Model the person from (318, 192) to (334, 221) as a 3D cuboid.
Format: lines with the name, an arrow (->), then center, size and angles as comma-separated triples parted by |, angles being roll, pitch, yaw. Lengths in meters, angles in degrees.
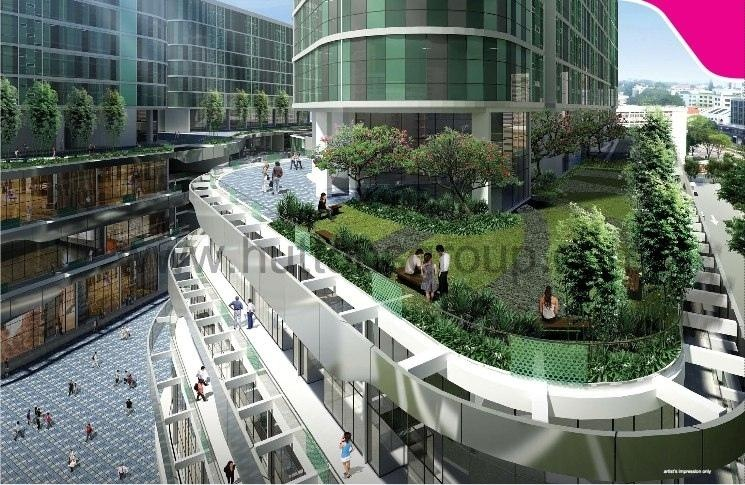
person -> -3.419, -2.801, 37.206 | 0.984, 1.727, 1.392 | -2, 17, -5

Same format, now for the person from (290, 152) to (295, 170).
person -> -9.013, -9.347, 58.179 | 0.640, 1.725, 1.304 | -3, 17, -9

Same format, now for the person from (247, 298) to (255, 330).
person -> -7.569, 4.361, 31.986 | 0.427, 1.577, 1.535 | -3, 17, -10

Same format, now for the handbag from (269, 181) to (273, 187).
handbag -> -9.211, -5.423, 46.715 | 0.095, 0.397, 0.413 | 7, 4, 5

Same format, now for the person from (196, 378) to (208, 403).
person -> -9.587, 8.110, 28.652 | 0.594, 1.165, 0.903 | -7, 18, -21
